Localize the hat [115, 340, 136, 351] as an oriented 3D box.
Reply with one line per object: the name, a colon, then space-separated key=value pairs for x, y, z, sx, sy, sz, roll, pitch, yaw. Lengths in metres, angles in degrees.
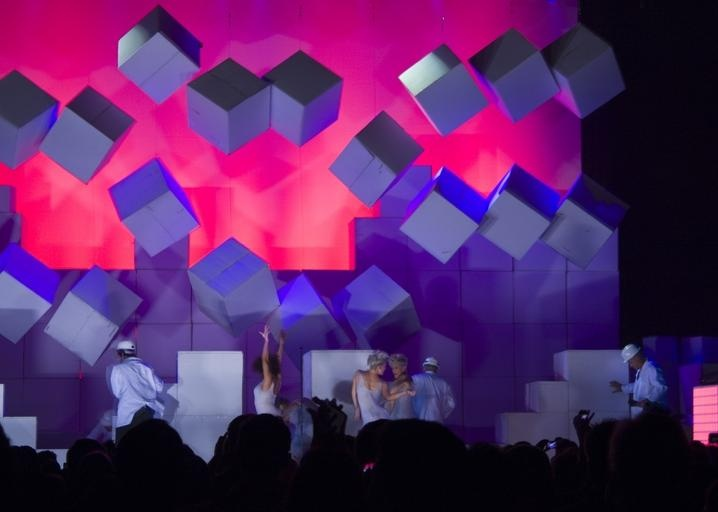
hat: x=-2.247 y=0.860 z=7.998 sx=0.186 sy=0.090 sz=0.135 roll=-5 pitch=-7 yaw=26

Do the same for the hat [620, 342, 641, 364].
hat: x=2.620 y=0.939 z=8.101 sx=0.067 sy=0.152 sz=0.180 roll=42 pitch=-21 yaw=-8

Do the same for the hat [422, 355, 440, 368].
hat: x=0.698 y=1.029 z=8.093 sx=0.127 sy=0.132 sz=0.149 roll=15 pitch=-38 yaw=11
